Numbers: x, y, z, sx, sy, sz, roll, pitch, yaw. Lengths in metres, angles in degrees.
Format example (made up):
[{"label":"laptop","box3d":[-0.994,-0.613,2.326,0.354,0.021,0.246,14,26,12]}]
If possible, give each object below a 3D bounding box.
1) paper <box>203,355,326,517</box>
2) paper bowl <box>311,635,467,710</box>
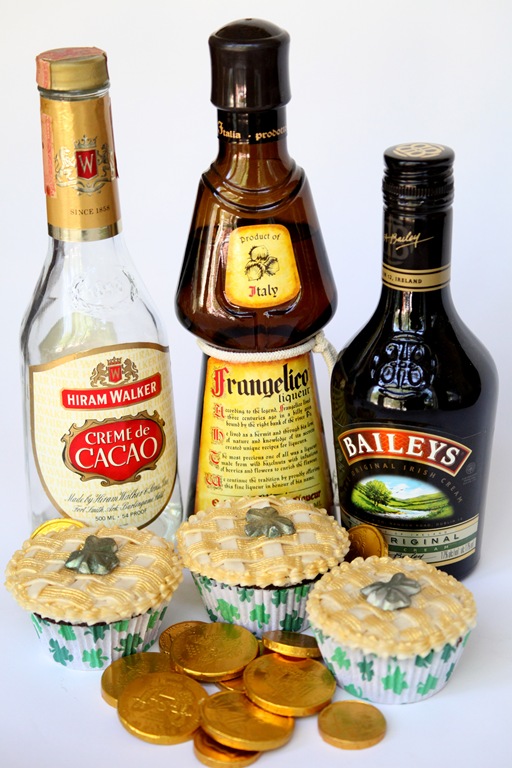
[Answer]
[{"label":"paper","box3d":[0.018,0.061,0.966,0.141,0.211,0.120,4,24,1]},{"label":"paper bowl","box3d":[0.143,0.291,0.745,0.193,0.085,0.108,1,15,0]}]
